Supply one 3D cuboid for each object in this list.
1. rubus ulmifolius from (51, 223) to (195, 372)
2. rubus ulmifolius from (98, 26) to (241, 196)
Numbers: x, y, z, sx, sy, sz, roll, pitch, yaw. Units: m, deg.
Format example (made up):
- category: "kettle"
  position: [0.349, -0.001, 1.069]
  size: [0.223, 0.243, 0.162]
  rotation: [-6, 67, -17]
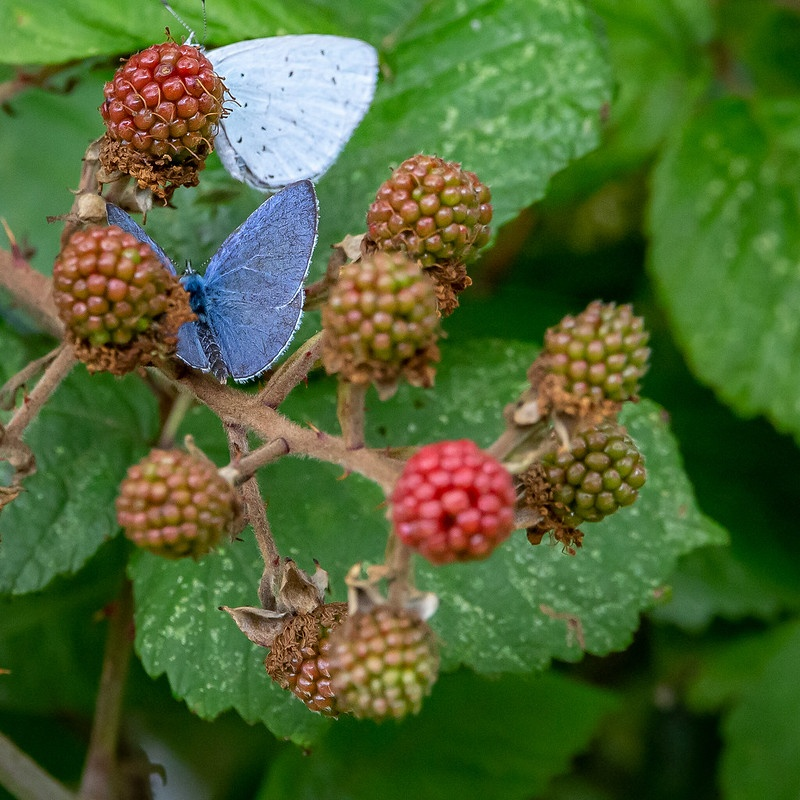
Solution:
- category: "rubus ulmifolius"
  position: [-0.382, -0.136, 1.656]
  size: [0.176, 0.211, 0.145]
  rotation: [-30, 21, 0]
- category: "rubus ulmifolius"
  position: [-0.354, -0.412, 1.682]
  size: [0.169, 0.197, 0.133]
  rotation: [6, -20, -1]
